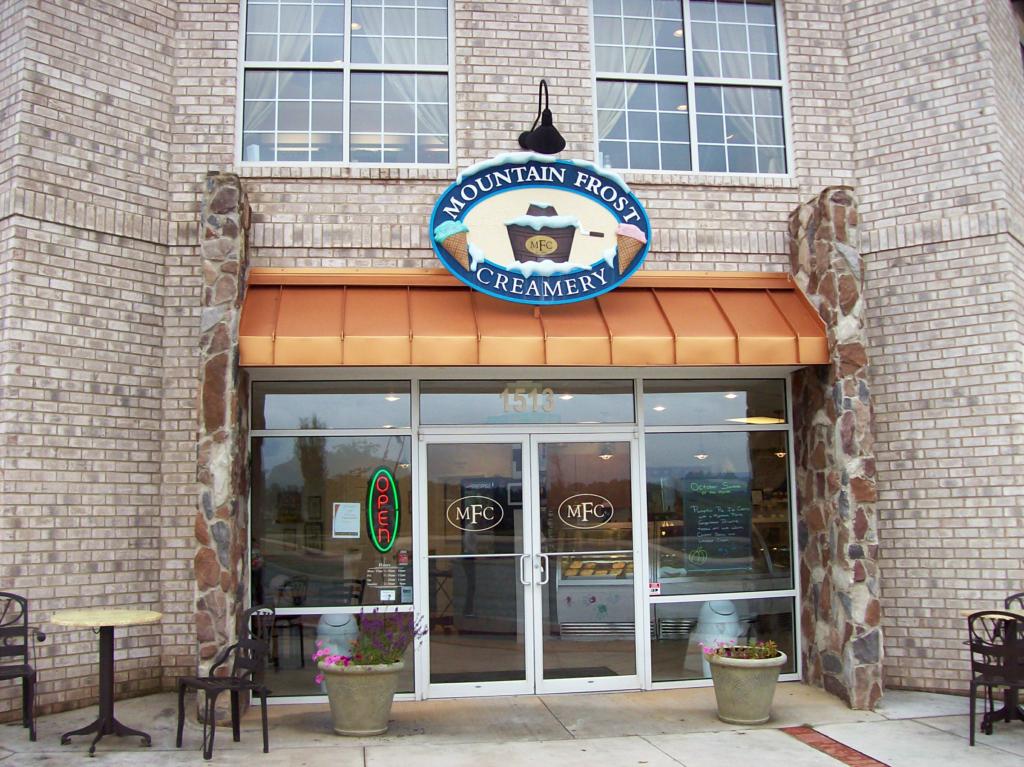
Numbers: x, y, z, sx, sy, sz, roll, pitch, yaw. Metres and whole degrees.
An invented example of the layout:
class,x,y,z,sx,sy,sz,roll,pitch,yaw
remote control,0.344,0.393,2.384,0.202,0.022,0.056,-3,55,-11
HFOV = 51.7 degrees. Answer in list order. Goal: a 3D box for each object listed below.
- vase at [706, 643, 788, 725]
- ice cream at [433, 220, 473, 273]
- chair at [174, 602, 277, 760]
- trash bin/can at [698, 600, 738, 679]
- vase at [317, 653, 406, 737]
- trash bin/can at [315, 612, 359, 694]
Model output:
class,x,y,z,sx,sy,sz,roll,pitch,yaw
vase,2.736,3.620,12.481,1.014,0.768,0.982,0,-11,4
ice cream,-0.693,-1.698,13.010,0.404,0.616,0.153,-28,5,-2
chair,-3.160,3.375,11.819,1.114,1.916,1.168,-11,-17,42
trash bin/can,2.741,3.354,13.831,0.671,1.027,0.649,0,1,0
vase,-1.661,3.503,11.971,0.847,0.618,0.839,-3,-7,34
trash bin/can,-2.226,3.282,13.289,0.580,1.005,0.610,4,5,4
